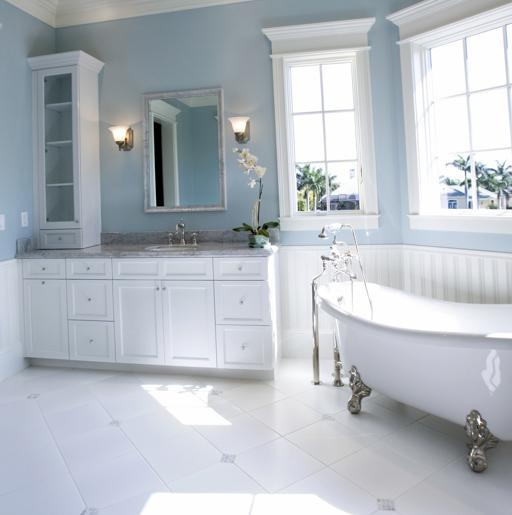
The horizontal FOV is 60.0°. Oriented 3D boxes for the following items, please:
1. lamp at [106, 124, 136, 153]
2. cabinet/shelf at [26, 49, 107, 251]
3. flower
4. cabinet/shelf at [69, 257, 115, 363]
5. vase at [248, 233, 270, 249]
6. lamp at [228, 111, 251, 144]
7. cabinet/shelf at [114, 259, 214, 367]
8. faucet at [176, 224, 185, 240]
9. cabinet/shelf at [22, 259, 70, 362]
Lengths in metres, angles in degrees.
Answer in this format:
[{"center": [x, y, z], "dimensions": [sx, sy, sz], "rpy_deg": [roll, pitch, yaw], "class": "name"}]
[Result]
[{"center": [-1.102, -0.989, 3.740], "dimensions": [0.199, 0.210, 0.213], "rpy_deg": [1, -1, 43], "class": "lamp"}, {"center": [-1.601, -0.852, 3.639], "dimensions": [0.505, 1.438, 0.356], "rpy_deg": [0, 5, -5], "class": "cabinet/shelf"}, {"center": [-0.025, -0.481, 3.362], "dimensions": [0.371, 0.746, 0.521], "rpy_deg": [-1, 9, 6], "class": "flower"}, {"center": [-1.228, 0.387, 3.281], "dimensions": [0.375, 0.755, 0.097], "rpy_deg": [0, 9, 16], "class": "cabinet/shelf"}, {"center": [0.032, -0.121, 3.170], "dimensions": [0.118, 0.061, 0.115], "rpy_deg": [-3, 3, -37], "class": "vase"}, {"center": [-0.118, -1.020, 3.495], "dimensions": [0.228, 0.234, 0.203], "rpy_deg": [4, 8, 30], "class": "lamp"}, {"center": [-0.630, 0.368, 3.156], "dimensions": [0.890, 0.748, 0.406], "rpy_deg": [0, 1, 10], "class": "cabinet/shelf"}, {"center": [-0.612, -0.197, 3.595], "dimensions": [0.073, 0.171, 0.133], "rpy_deg": [-4, 9, -10], "class": "faucet"}, {"center": [-1.611, 0.384, 3.365], "dimensions": [0.390, 0.749, 0.109], "rpy_deg": [1, 10, 19], "class": "cabinet/shelf"}]
